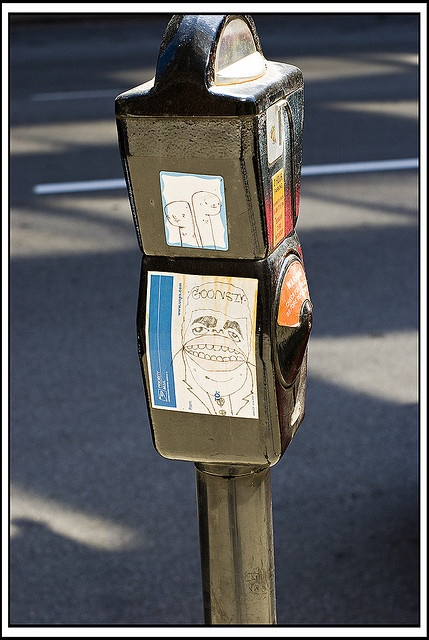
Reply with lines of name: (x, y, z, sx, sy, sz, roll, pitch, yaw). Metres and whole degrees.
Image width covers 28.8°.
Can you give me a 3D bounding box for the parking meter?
parking meter: (0.025, 0.044, 1.310, 0.281, 0.988, 0.452, -4, -3, 7)
